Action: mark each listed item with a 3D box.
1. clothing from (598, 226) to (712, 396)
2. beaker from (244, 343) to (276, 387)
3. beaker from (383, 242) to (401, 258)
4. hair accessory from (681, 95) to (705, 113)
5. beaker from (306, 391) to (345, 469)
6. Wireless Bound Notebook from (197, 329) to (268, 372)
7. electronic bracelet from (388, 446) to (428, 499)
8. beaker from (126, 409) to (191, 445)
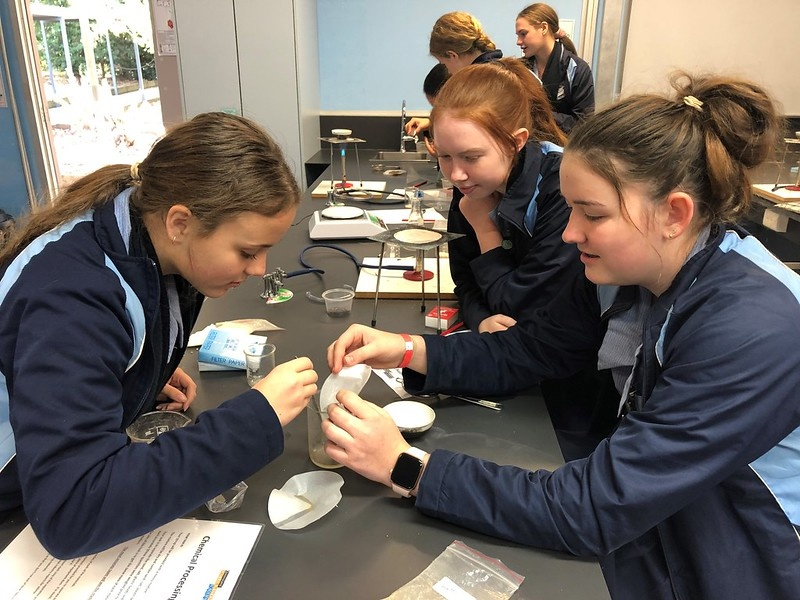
[{"bbox_3d":[0.541,0.015,1.130,0.164,0.291,0.214,20,56,8],"label":"clothing"},{"bbox_3d":[-0.375,0.172,1.495,0.101,0.102,0.098,-7,13,-28],"label":"beaker"},{"bbox_3d":[-0.036,-0.216,2.404,0.084,0.082,0.152,2,7,0],"label":"beaker"},{"bbox_3d":[0.601,-0.406,1.104,0.027,0.014,0.044,-41,64,-12],"label":"hair accessory"},{"bbox_3d":[-0.185,0.298,1.248,0.120,0.171,0.117,10,-22,-35],"label":"beaker"},{"bbox_3d":[-0.490,0.140,1.509,0.130,0.031,0.130,2,30,4],"label":"Wireless Bound Notebook"},{"bbox_3d":[0.016,0.355,1.141,0.066,0.094,0.098,18,73,32],"label":"electronic bracelet"},{"bbox_3d":[-0.553,0.318,1.249,0.113,0.050,0.095,-11,24,3],"label":"beaker"}]
